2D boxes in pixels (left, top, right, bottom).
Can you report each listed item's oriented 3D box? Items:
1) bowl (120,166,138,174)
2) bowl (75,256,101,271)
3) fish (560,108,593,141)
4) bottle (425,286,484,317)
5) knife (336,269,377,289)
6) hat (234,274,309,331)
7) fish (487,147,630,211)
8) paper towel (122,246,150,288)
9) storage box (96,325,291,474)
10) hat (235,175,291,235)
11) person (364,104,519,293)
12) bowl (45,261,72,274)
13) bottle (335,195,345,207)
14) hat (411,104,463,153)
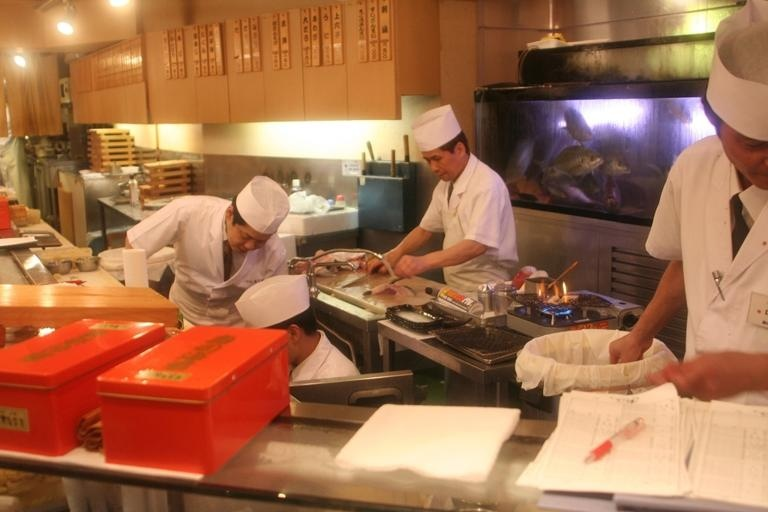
[{"bbox_3d":[-3.311,-1.106,8.137,0.231,0.094,0.290,-6,10,-14],"label":"bowl"},{"bbox_3d":[-1.870,0.049,3.922,0.153,0.088,0.072,-3,9,1],"label":"bowl"},{"bbox_3d":[1.242,-0.837,4.010,0.019,0.217,0.197,-11,12,-39],"label":"fish"},{"bbox_3d":[0.388,0.240,3.301,0.127,0.087,0.332,-7,10,-22],"label":"bottle"},{"bbox_3d":[-0.198,0.151,4.120,0.082,0.003,0.256,18,31,35],"label":"knife"},{"bbox_3d":[-0.512,0.198,2.883,0.355,0.152,0.296,-24,16,-23],"label":"hat"},{"bbox_3d":[1.201,-0.595,4.324,0.256,0.478,1.085,-26,29,-34],"label":"fish"},{"bbox_3d":[-1.105,0.060,2.782,0.097,0.167,0.284,-7,10,-22],"label":"paper towel"},{"bbox_3d":[-0.514,0.378,1.760,0.367,0.232,0.491,0,10,9],"label":"storage box"},{"bbox_3d":[-0.634,-0.261,3.288,0.267,0.306,0.192,-12,13,-42],"label":"hat"},{"bbox_3d":[0.349,-0.321,4.068,0.990,1.243,0.938,-12,12,-11],"label":"person"},{"bbox_3d":[-1.981,0.067,3.828,0.138,0.072,0.206,-9,11,-31],"label":"bowl"},{"bbox_3d":[-0.400,-0.509,5.752,0.101,0.111,0.102,1,-1,1],"label":"bottle"},{"bbox_3d":[0.337,-0.812,3.927,0.308,0.215,0.295,-10,27,34],"label":"hat"}]
